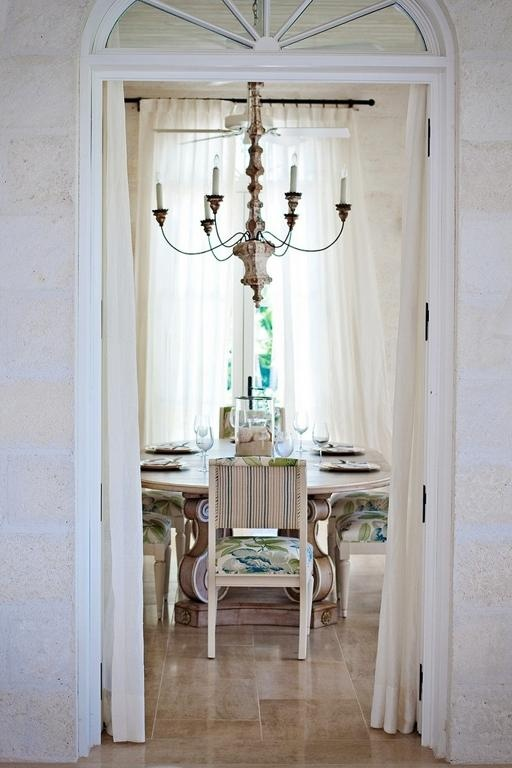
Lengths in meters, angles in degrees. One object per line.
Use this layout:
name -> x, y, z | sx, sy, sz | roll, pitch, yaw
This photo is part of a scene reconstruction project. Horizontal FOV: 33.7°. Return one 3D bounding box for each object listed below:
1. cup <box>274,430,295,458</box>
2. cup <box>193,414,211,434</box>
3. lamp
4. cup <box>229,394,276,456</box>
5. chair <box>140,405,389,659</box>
cup -> 0.106, 0.241, 3.443 | 0.083, 0.152, 0.090 | -1, -5, 0
cup -> -0.221, 0.163, 3.473 | 0.066, 0.130, 0.074 | 0, -4, -1
lamp -> -0.017, -0.785, 3.352 | 0.628, 0.880, 0.703 | -1, 0, 35
cup -> -0.006, 0.175, 3.441 | 0.194, 0.333, 0.202 | 0, -3, 0
chair -> 0.031, 0.637, 3.424 | 0.729, 0.474, 0.779 | 0, 4, 4
